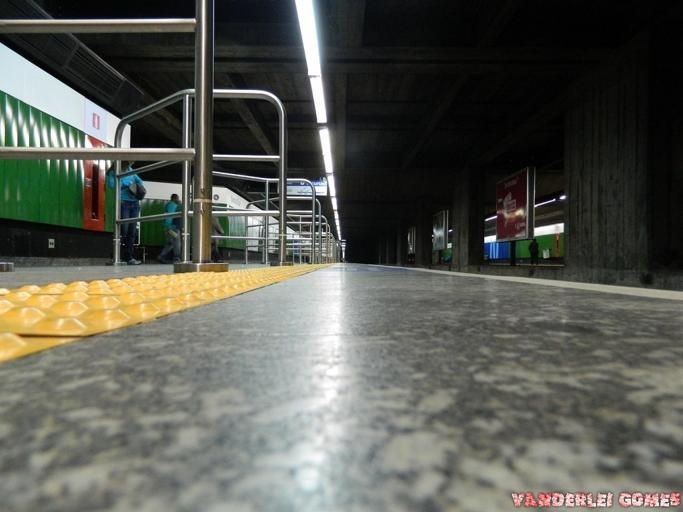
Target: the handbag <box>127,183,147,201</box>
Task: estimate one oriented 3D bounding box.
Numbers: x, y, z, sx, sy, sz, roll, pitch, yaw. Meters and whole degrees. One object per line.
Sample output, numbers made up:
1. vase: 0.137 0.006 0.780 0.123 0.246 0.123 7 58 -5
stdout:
1. handbag: -3.061 -0.970 6.602 0.204 0.269 0.277 -19 35 -17
